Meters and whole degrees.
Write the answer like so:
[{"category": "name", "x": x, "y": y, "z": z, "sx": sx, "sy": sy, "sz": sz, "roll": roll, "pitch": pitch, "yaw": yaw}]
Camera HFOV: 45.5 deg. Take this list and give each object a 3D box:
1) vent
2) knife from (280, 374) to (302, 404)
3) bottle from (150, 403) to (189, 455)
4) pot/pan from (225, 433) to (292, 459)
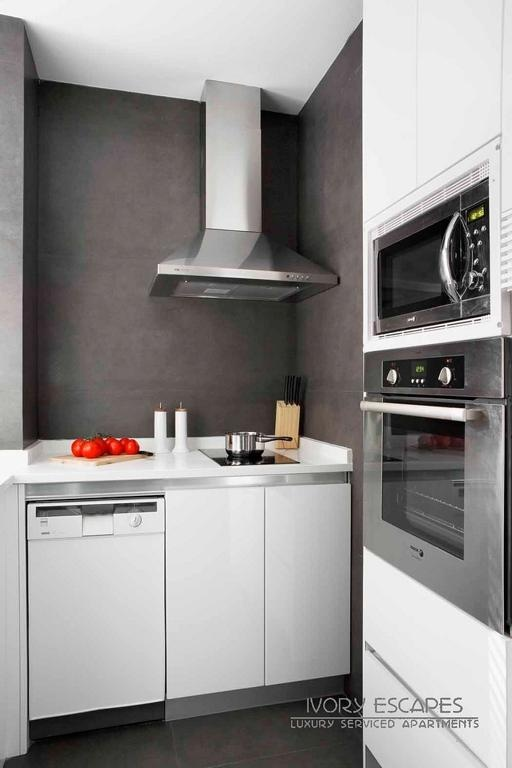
[{"category": "vent", "x": -0.093, "y": -0.816, "z": 2.604, "sx": 0.714, "sy": 1.078, "sz": 0.785, "roll": 0, "pitch": -2, "yaw": -15}, {"category": "knife", "x": 0.150, "y": 0.034, "z": 2.784, "sx": 0.031, "sy": 0.095, "sz": 0.112, "roll": 6, "pitch": 2, "yaw": -18}, {"category": "bottle", "x": -0.380, "y": 0.196, "z": 2.633, "sx": 0.161, "sy": 0.252, "sz": 0.084, "roll": 0, "pitch": 0, "yaw": -10}, {"category": "pot/pan", "x": -0.005, "y": 0.235, "z": 2.380, "sx": 0.210, "sy": 0.102, "sz": 0.124, "roll": 1, "pitch": -2, "yaw": 35}]
